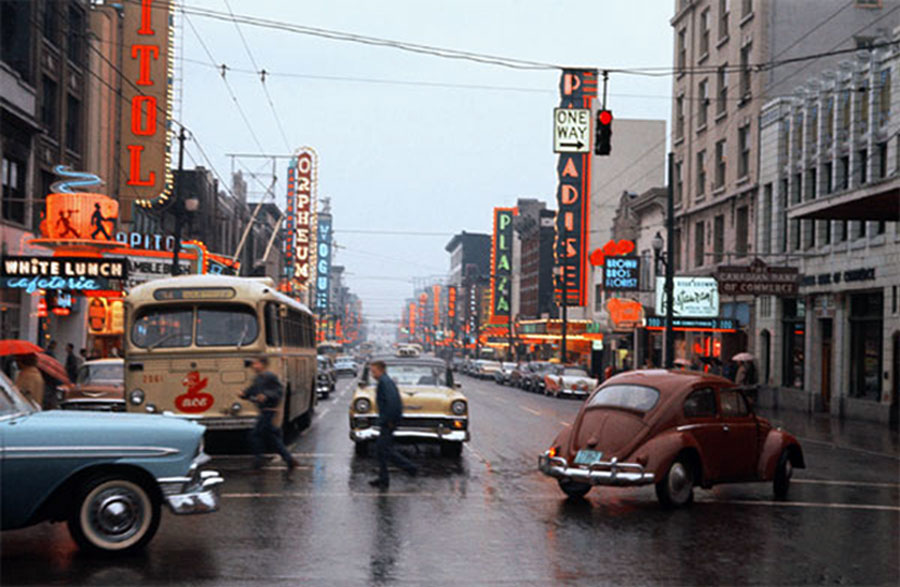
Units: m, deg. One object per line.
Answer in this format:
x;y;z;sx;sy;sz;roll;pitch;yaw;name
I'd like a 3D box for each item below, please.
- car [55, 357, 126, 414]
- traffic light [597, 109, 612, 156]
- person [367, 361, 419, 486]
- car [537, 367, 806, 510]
-9.255;2.437;26.034;1.277;1.118;2.270;1;-5;-10;car
3.922;-4.159;25.328;0.388;1.017;1.322;2;-3;7;traffic light
-1.319;2.872;21.636;0.961;2.661;1.038;4;-3;-37;person
4.560;2.988;20.618;5.084;2.749;1.779;4;-3;-26;car
